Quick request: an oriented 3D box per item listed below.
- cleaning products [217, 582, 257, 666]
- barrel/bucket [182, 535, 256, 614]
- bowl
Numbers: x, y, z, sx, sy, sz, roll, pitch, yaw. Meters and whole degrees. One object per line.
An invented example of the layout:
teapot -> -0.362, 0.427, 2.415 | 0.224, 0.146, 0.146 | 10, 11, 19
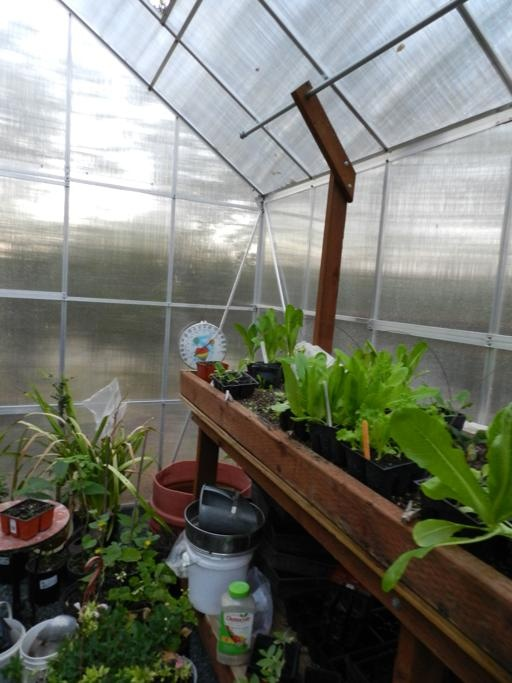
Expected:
cleaning products -> -0.061, 0.877, 1.509 | 0.115, 0.230, 0.084 | 3, 6, -9
barrel/bucket -> -0.176, 0.794, 1.767 | 0.265, 0.263, 0.254 | 3, 7, 0
bowl -> -0.131, 0.664, 1.742 | 0.262, 0.075, 0.255 | 17, 8, -2
